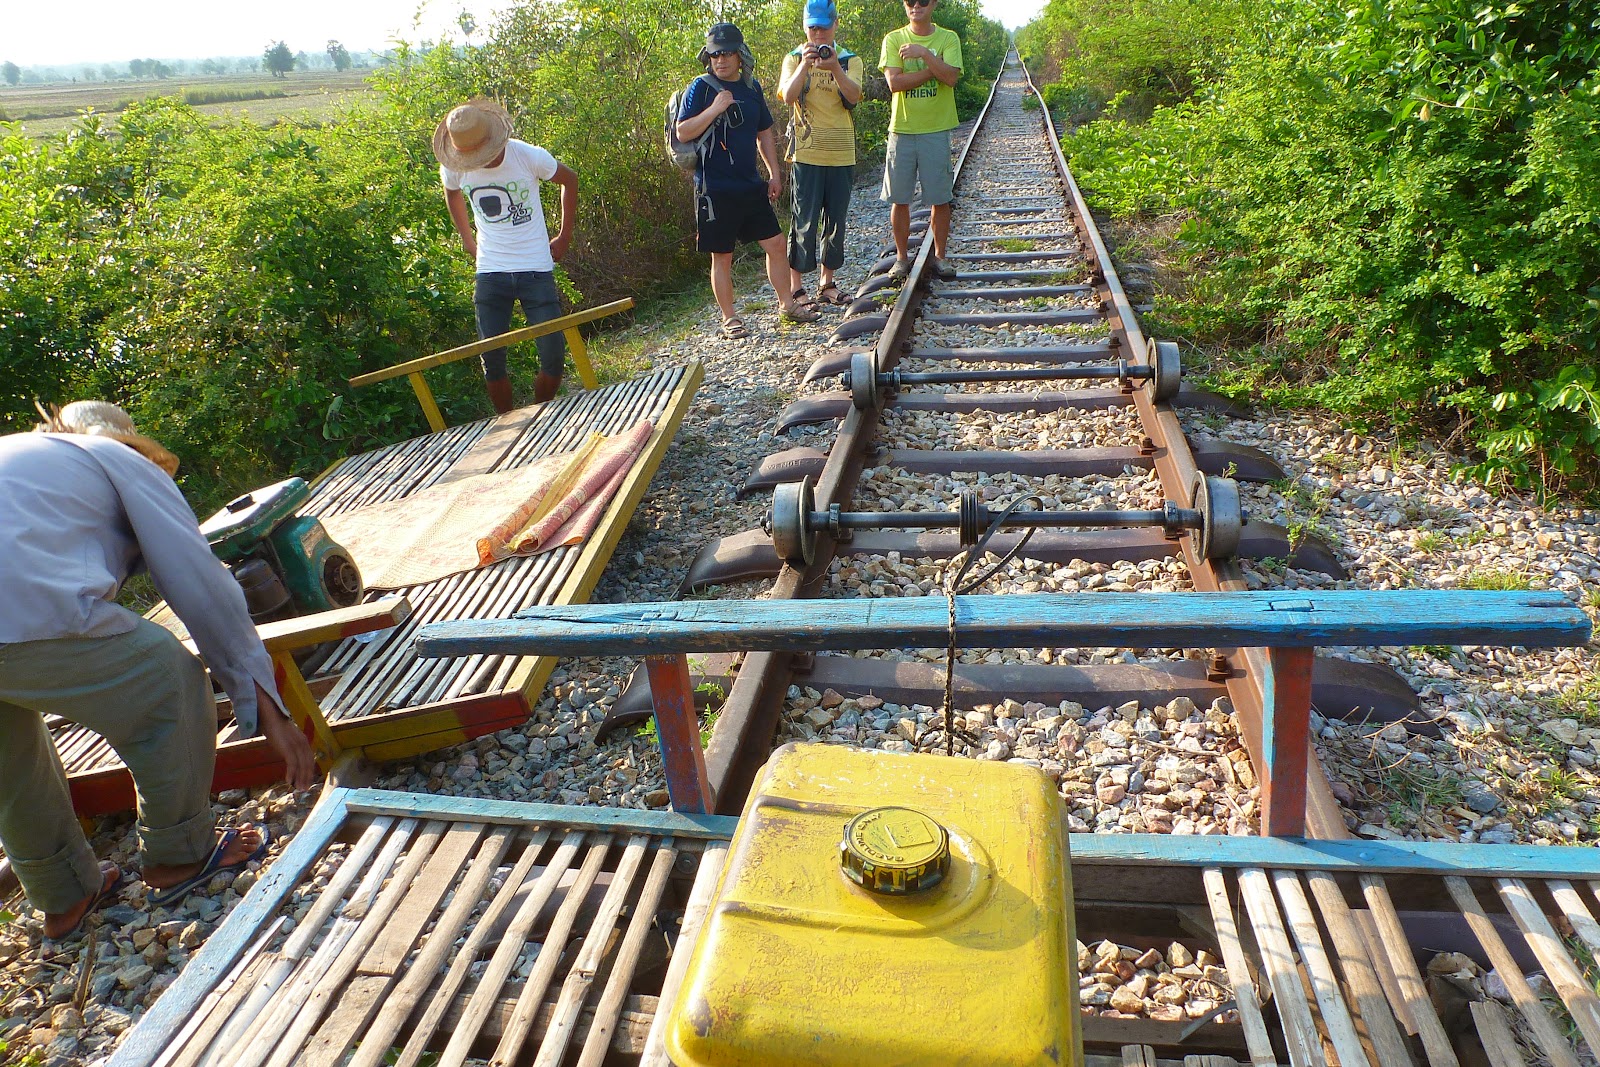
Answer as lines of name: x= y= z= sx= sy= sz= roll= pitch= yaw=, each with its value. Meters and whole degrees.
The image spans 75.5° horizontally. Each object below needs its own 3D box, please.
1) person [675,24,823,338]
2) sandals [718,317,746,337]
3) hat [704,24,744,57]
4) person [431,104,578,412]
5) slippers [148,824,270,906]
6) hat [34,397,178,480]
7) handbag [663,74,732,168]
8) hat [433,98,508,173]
person: x=-0.533 y=-2.743 z=8.304 sx=0.821 sy=2.387 sz=0.843 roll=-6 pitch=31 yaw=1
sandals: x=-0.571 y=-1.703 z=8.685 sx=0.145 sy=0.106 sz=0.263 roll=-4 pitch=29 yaw=-2
hat: x=-0.557 y=-3.594 z=7.652 sx=0.258 sy=0.181 sz=0.338 roll=5 pitch=32 yaw=8
person: x=-1.904 y=-1.819 z=7.032 sx=0.858 sy=2.043 sz=0.985 roll=-11 pitch=31 yaw=-9
slippers: x=-2.217 y=1.255 z=3.976 sx=0.449 sy=0.178 sz=0.163 roll=-24 pitch=52 yaw=-34
hat: x=-2.694 y=-0.438 z=4.044 sx=0.455 sy=0.229 sz=0.614 roll=3 pitch=14 yaw=-28
handbag: x=-0.790 y=-3.112 z=7.932 sx=0.488 sy=0.547 sz=0.503 roll=-9 pitch=30 yaw=-6
hat: x=-2.127 y=-2.569 z=6.713 sx=0.419 sy=0.392 sz=0.511 roll=-20 pitch=33 yaw=-24
